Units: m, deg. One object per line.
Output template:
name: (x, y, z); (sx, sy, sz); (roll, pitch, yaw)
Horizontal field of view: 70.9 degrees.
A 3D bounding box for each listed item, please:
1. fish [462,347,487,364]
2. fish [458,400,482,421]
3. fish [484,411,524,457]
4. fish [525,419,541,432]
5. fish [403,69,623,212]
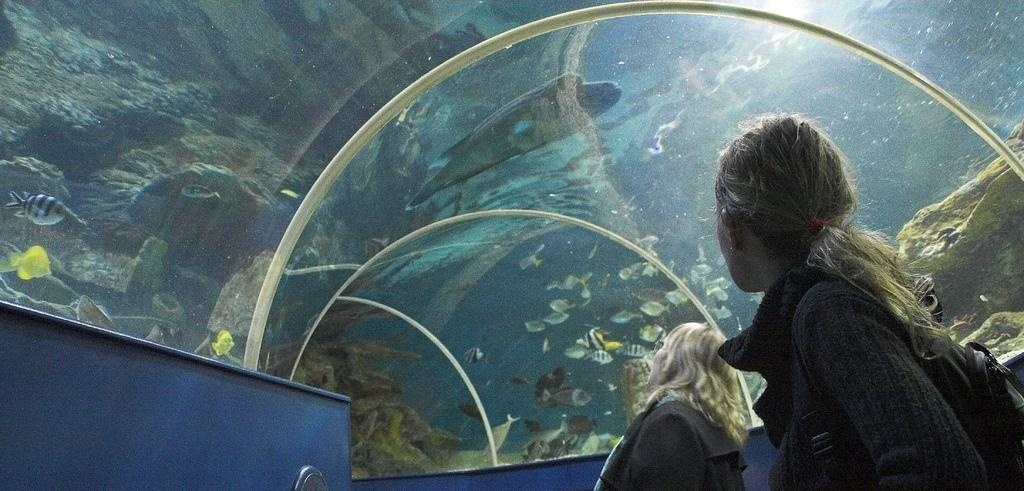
fish: (-1.098, 3.196, 21.158); (0.583, 0.147, 0.510); (-35, -81, 20)
fish: (-1.229, 4.874, 21.259); (0.742, 0.169, 0.393); (18, -62, 22)
fish: (-0.321, 5.533, 21.211); (0.672, 0.721, 1.259); (13, -71, -17)
fish: (0.609, 5.226, 20.880); (0.205, 0.383, 0.366); (-16, -44, -22)
fish: (-0.030, -2.383, 15.558); (4.203, 0.649, 1.481); (-22, -18, 0)
